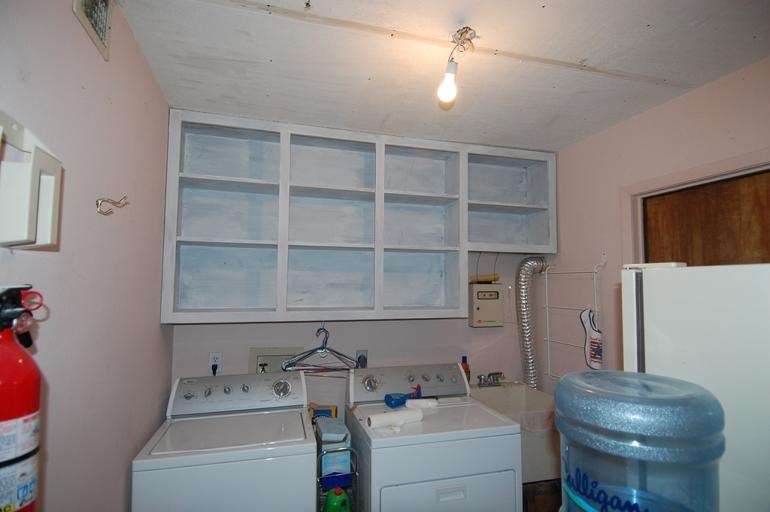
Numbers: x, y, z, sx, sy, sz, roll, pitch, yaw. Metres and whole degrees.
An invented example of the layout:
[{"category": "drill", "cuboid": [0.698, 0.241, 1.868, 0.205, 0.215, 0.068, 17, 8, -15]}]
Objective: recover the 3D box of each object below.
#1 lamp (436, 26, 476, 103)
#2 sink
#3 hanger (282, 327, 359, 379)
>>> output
[{"category": "lamp", "cuboid": [0.314, -0.877, 2.327, 0.142, 0.346, 0.133, 24, 17, 20]}, {"category": "sink", "cuboid": [0.844, 1.095, 3.268, 0.486, 0.295, 0.495, 0, -10, -5]}, {"category": "hanger", "cuboid": [-0.388, 0.576, 3.145, 0.467, 0.306, 0.250, -1, -3, -9]}]
